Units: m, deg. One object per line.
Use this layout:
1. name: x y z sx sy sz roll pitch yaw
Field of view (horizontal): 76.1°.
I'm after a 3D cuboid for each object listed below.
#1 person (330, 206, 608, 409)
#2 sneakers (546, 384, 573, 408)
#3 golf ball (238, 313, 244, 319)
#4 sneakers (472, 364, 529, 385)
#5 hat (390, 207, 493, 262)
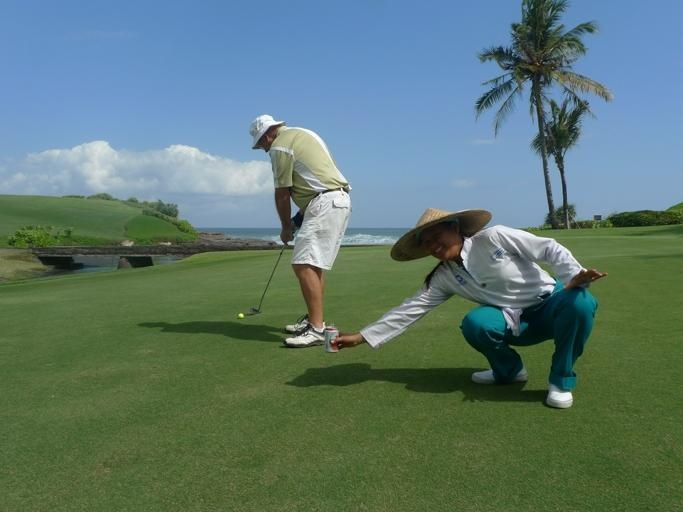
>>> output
1. person: 0.886 0.356 3.093 2.094 1.214 1.153 -9 -17 44
2. sneakers: 1.264 0.810 2.542 0.138 0.103 0.179 1 8 25
3. golf ball: -1.141 0.684 4.928 0.059 0.064 0.052 -36 29 11
4. sneakers: 1.066 0.790 2.947 0.395 0.114 0.126 0 6 5
5. hat: 0.638 -0.178 2.950 0.578 0.148 0.473 -3 -24 -37
